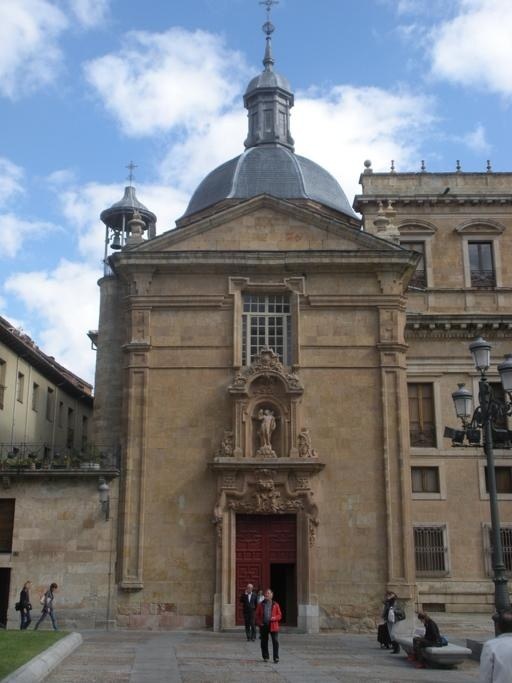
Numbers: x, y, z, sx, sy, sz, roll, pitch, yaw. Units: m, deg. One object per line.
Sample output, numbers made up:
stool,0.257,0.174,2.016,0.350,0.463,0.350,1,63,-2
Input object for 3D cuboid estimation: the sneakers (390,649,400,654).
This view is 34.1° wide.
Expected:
sneakers,3.563,7.961,21.389,0.248,0.171,0.084,-3,-18,22

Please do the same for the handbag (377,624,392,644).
handbag,3.403,7.858,22.220,0.320,0.590,0.367,-2,-16,9

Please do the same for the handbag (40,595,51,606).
handbag,-6.300,7.715,24.930,0.230,0.293,0.691,6,-13,-5

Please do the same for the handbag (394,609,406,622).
handbag,3.935,7.481,22.775,0.364,0.387,0.303,-1,-10,-2

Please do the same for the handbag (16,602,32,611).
handbag,-7.078,8.026,25.227,0.436,0.271,0.782,5,-16,-16

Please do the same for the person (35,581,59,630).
person,-6.344,8.035,25.284,0.619,1.374,2.554,4,-16,-13

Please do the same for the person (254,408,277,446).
person,0.326,2.932,28.078,0.681,1.454,0.455,0,-15,0

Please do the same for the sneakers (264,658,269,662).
sneakers,0.216,7.116,18.631,0.080,0.080,0.245,-2,-16,7

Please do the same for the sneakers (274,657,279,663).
sneakers,0.447,7.068,18.488,0.120,0.171,0.132,-2,-13,5

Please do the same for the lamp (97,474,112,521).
lamp,-5.014,5.157,27.287,0.425,1.376,0.765,3,-15,-8
